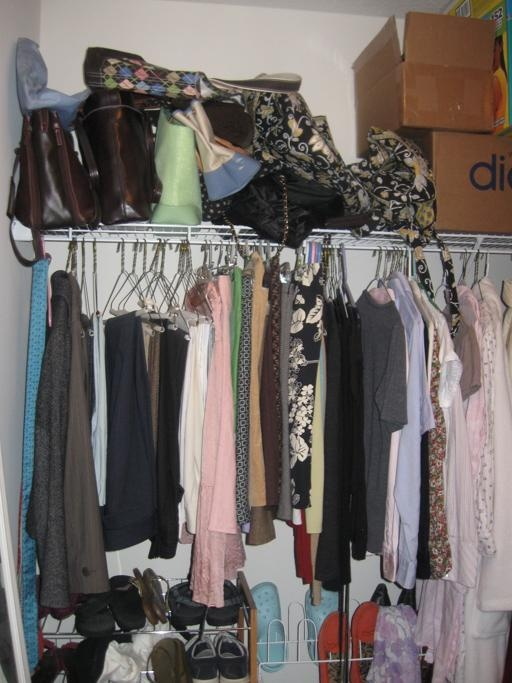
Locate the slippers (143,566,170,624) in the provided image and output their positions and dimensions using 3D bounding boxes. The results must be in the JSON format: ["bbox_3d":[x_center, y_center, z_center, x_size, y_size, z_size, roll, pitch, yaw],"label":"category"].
[{"bbox_3d":[-0.317,0.769,2.080,0.048,0.175,0.056,-34,-33,15],"label":"slippers"}]

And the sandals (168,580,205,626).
[{"bbox_3d":[-0.209,0.753,2.035,0.096,0.052,0.146,8,9,-12],"label":"sandals"}]

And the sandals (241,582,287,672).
[{"bbox_3d":[0.047,0.920,2.197,0.106,0.301,0.072,0,0,-2],"label":"sandals"}]

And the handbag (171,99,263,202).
[{"bbox_3d":[-0.106,-0.491,1.822,0.196,0.264,0.093,-32,10,11],"label":"handbag"}]

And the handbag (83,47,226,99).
[{"bbox_3d":[-0.265,-0.677,1.854,0.382,0.128,0.145,5,20,-17],"label":"handbag"}]

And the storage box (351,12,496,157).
[{"bbox_3d":[0.544,-0.685,2.196,0.316,0.336,0.444,7,-21,0],"label":"storage box"}]

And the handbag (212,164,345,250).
[{"bbox_3d":[0.078,-0.392,1.966,0.247,0.112,0.261,15,32,26],"label":"handbag"}]

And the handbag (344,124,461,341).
[{"bbox_3d":[0.375,-0.293,2.041,0.183,0.625,0.343,-18,-7,33],"label":"handbag"}]

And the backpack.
[{"bbox_3d":[-0.533,-0.456,1.817,0.217,0.305,0.094,-2,-1,-11],"label":"backpack"}]

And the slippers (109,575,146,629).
[{"bbox_3d":[-0.371,0.756,1.982,0.061,0.080,0.195,0,-1,-19],"label":"slippers"}]

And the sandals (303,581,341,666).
[{"bbox_3d":[0.210,0.899,2.236,0.089,0.295,0.106,0,2,6],"label":"sandals"}]

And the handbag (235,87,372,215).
[{"bbox_3d":[0.108,-0.456,1.843,0.210,0.135,0.348,21,-31,34],"label":"handbag"}]

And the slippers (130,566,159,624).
[{"bbox_3d":[-0.331,0.749,2.042,0.033,0.057,0.166,-26,47,-11],"label":"slippers"}]

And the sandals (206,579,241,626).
[{"bbox_3d":[-0.092,0.794,2.062,0.082,0.130,0.046,4,-33,-5],"label":"sandals"}]

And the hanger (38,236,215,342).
[{"bbox_3d":[-0.381,-0.176,2.032,0.527,0.323,0.409,-3,-2,-4],"label":"hanger"}]
